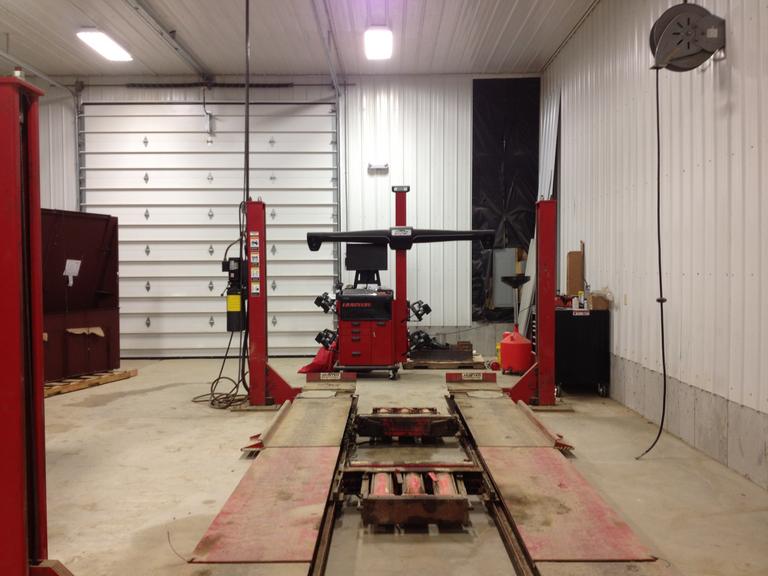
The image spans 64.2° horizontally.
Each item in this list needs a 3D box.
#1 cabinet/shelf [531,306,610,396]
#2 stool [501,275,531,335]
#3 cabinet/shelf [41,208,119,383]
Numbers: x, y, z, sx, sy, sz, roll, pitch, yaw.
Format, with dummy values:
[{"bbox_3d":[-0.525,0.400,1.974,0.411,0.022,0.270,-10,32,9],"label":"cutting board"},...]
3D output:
[{"bbox_3d":[2.493,0.787,7.891,0.769,1.559,1.567,0,0,11],"label":"cabinet/shelf"},{"bbox_3d":[2.139,0.220,9.724,0.432,0.915,1.354,-1,3,13],"label":"stool"},{"bbox_3d":[-4.244,0.167,9.363,1.996,2.215,1.122,-4,-2,29],"label":"cabinet/shelf"}]
